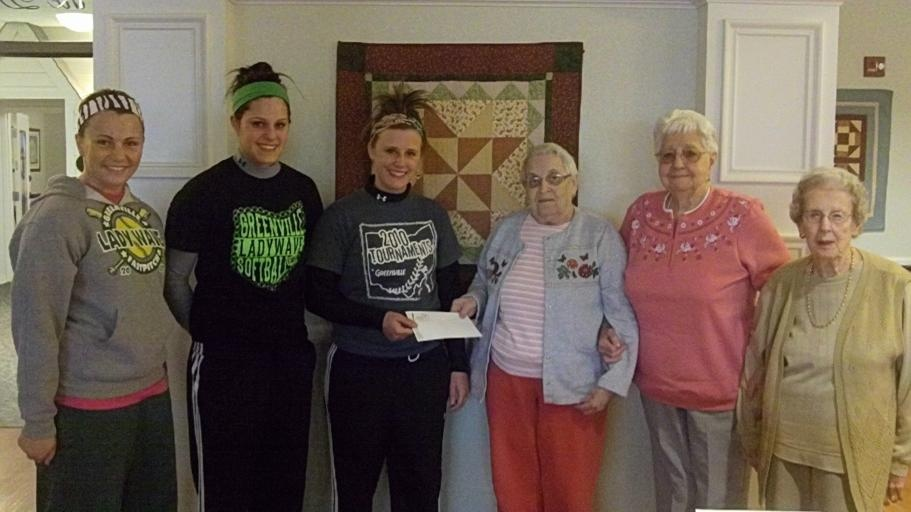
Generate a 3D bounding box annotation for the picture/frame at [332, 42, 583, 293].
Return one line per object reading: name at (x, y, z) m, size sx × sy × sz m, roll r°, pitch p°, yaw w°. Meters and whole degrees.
picture/frame at (0.010, -0.622, 4.847) m, size 1.974 × 1.534 × 0.067 m, roll -2°, pitch 7°, yaw 0°

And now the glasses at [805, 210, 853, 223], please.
glasses at (2.110, -0.213, 4.172) m, size 0.259 × 0.058 × 0.059 m, roll 0°, pitch 11°, yaw 3°

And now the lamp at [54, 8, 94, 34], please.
lamp at (-2.688, -1.662, 5.200) m, size 0.276 × 0.076 × 0.249 m, roll 2°, pitch 14°, yaw -6°

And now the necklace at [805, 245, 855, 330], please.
necklace at (2.104, 0.189, 4.192) m, size 0.276 × 0.431 × 0.114 m, roll -1°, pitch 2°, yaw 31°
